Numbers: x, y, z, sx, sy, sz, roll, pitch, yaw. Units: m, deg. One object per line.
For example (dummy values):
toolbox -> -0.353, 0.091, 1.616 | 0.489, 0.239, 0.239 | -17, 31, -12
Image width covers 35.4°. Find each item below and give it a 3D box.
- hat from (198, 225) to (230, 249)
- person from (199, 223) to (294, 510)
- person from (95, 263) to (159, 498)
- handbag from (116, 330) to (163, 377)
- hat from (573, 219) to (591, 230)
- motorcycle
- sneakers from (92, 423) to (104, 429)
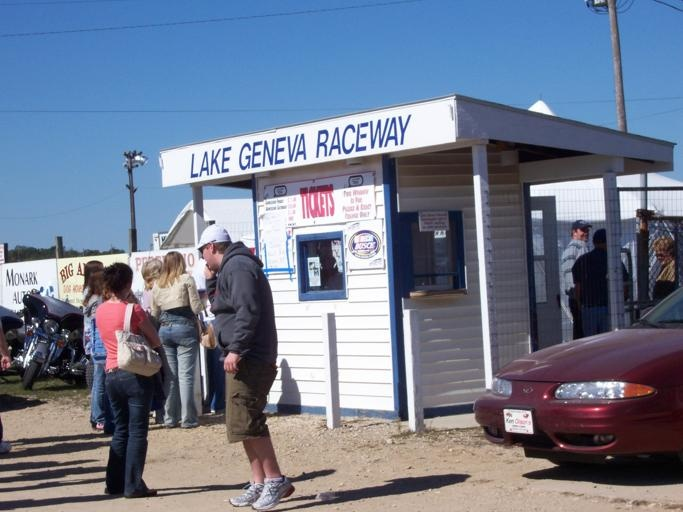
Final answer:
hat -> -1.310, -0.195, 10.988 | 0.307, 0.188, 0.233 | 1, 4, 22
person -> -0.932, 1.106, 10.745 | 0.606, 2.773, 0.865 | -6, 6, -22
person -> -2.185, 1.287, 11.071 | 0.645, 2.371, 0.614 | -6, 6, -24
handbag -> -2.061, 0.995, 10.884 | 0.362, 0.332, 0.198 | 25, -47, -38
hat -> 3.323, -0.433, 14.906 | 0.126, 0.086, 0.165 | -1, 3, -36
motorcycle -> -4.515, 1.319, 16.951 | 0.971, 0.992, 1.778 | 8, -2, -2
sneakers -> -3.148, 2.220, 13.936 | 0.123, 0.111, 0.100 | -25, -19, 35
